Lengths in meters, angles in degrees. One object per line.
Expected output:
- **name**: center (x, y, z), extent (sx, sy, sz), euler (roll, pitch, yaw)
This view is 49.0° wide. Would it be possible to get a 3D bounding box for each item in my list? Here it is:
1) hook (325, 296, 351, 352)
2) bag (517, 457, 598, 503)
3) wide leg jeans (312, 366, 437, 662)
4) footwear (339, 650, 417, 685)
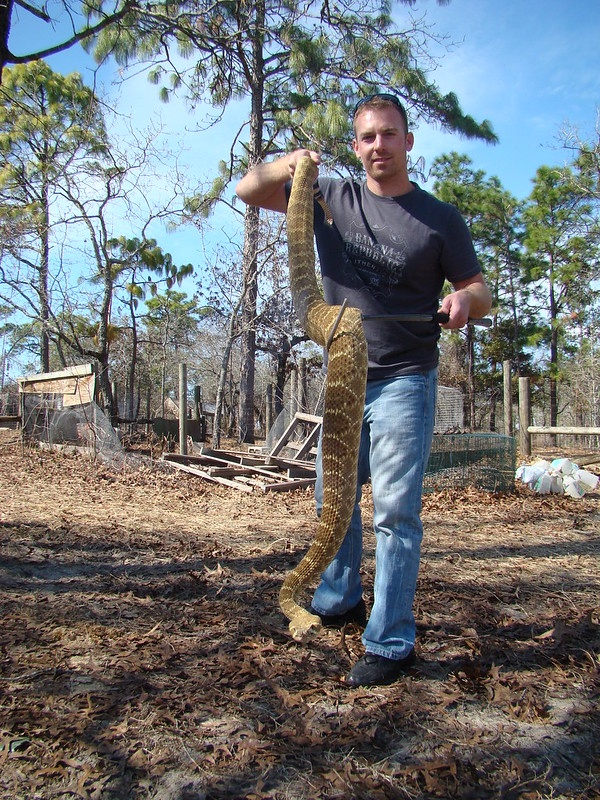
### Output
- **hook**: center (0.161, -0.336, 3.006), extent (0.049, 0.185, 0.198), euler (19, 32, 0)
- **bag**: center (3.854, 1.200, 10.069), extent (0.766, 0.292, 0.736), euler (4, 0, 5)
- **wide leg jeans**: center (0.411, 0.536, 3.221), extent (0.469, 1.375, 0.617), euler (2, 1, -9)
- **footwear**: center (0.348, 1.183, 2.942), extent (0.320, 0.125, 0.110), euler (-2, -1, -29)
